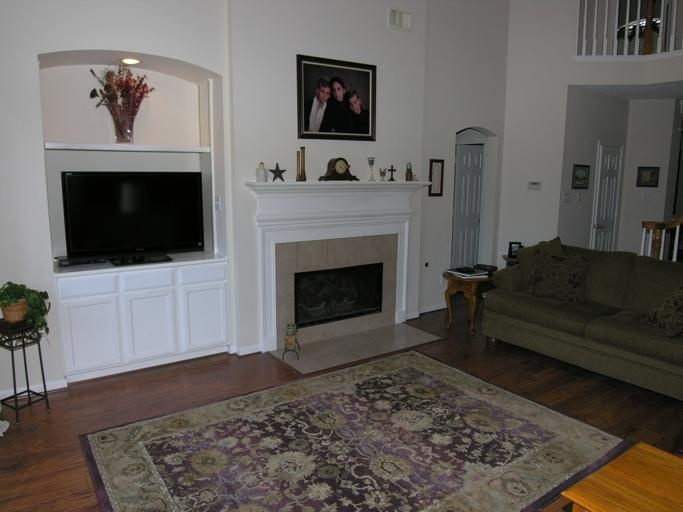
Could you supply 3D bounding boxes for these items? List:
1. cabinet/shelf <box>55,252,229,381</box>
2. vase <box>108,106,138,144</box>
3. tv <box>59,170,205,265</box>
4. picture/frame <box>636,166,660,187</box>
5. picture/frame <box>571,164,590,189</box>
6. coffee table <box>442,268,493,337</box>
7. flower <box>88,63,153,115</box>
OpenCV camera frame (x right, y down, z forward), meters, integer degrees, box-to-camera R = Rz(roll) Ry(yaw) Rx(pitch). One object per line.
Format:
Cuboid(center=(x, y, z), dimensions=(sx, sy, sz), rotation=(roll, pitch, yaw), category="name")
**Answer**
Cuboid(center=(-2.092, 0.754, 5.622), dimensions=(1.685, 1.143, 0.557), rotation=(-6, -24, -19), category="cabinet/shelf")
Cuboid(center=(-2.352, -1.407, 5.498), dimensions=(0.243, 0.389, 0.170), rotation=(-9, 14, -30), category="vase")
Cuboid(center=(-2.279, -0.406, 5.393), dimensions=(0.957, 0.682, 0.262), rotation=(-5, 10, -33), category="tv")
Cuboid(center=(5.377, -1.381, 8.925), dimensions=(0.334, 0.387, 0.032), rotation=(7, 11, 38), category="picture/frame")
Cuboid(center=(3.728, -1.242, 7.990), dimensions=(0.377, 0.383, 0.037), rotation=(-10, 19, -31), category="picture/frame")
Cuboid(center=(1.594, 0.561, 6.810), dimensions=(0.700, 0.779, 0.772), rotation=(8, 13, 40), category="coffee table")
Cuboid(center=(-2.410, -1.810, 5.594), dimensions=(0.654, 0.529, 0.490), rotation=(-7, 13, -25), category="flower")
